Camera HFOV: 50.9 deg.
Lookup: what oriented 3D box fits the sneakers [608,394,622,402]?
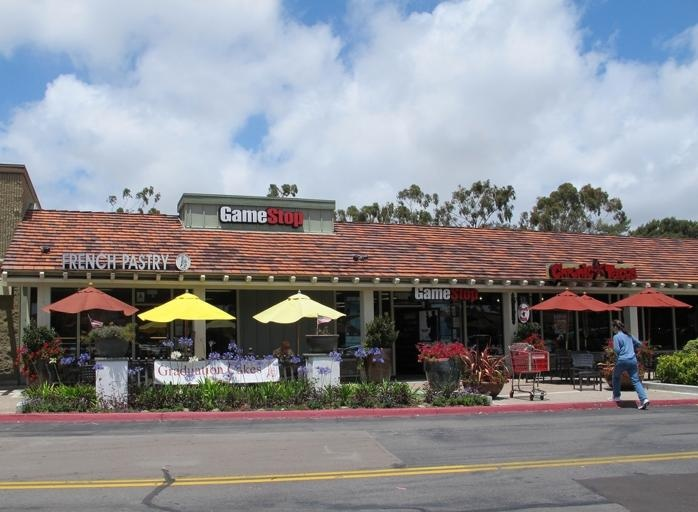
[{"bbox_3d":[7.277,3.954,20.217,0.181,0.185,0.429,1,1,-5],"label":"sneakers"}]

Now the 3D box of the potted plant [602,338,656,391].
[{"bbox_3d":[9.098,3.595,23.876,1.700,1.990,1.718,-1,0,-5],"label":"potted plant"}]

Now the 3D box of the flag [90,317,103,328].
[{"bbox_3d":[-8.085,2.150,23.404,0.399,0.021,0.370,15,-45,19],"label":"flag"}]

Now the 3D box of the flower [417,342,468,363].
[{"bbox_3d":[2.681,2.752,20.999,1.352,0.544,0.690,-3,-10,0],"label":"flower"}]

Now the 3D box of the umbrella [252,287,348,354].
[{"bbox_3d":[-1.781,2.268,24.786,2.196,1.912,2.225,1,-5,-7],"label":"umbrella"}]

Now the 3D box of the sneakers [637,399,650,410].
[{"bbox_3d":[7.808,3.988,19.468,0.165,0.187,0.433,2,-17,0],"label":"sneakers"}]

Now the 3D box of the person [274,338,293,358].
[{"bbox_3d":[-2.207,3.119,24.364,0.631,0.839,0.460,6,-14,-29],"label":"person"}]

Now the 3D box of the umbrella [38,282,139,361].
[{"bbox_3d":[-7.427,1.647,21.293,2.062,1.625,2.165,3,7,-6],"label":"umbrella"}]

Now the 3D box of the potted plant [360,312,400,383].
[{"bbox_3d":[0.990,3.109,24.765,1.228,2.299,1.262,0,-10,-12],"label":"potted plant"}]

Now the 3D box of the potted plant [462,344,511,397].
[{"bbox_3d":[4.081,3.509,21.397,1.209,1.266,1.271,-2,-3,15],"label":"potted plant"}]

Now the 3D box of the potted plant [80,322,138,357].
[{"bbox_3d":[-6.540,2.416,20.222,1.401,0.922,1.405,-1,-13,-22],"label":"potted plant"}]
